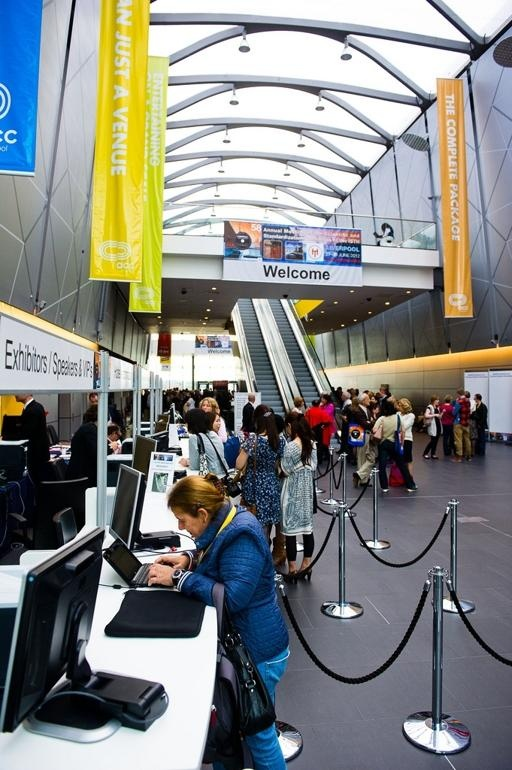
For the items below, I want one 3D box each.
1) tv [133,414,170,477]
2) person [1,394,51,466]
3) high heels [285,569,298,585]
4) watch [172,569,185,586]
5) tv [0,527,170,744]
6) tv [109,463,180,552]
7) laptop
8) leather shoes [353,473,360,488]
[{"bbox_3d":[-1.031,0.605,5.013,0.162,0.513,0.422,9,12,16],"label":"tv"},{"bbox_3d":[-2.758,0.560,5.984,0.265,0.365,0.824,-3,23,-18],"label":"person"},{"bbox_3d":[0.327,1.757,4.506,0.041,0.086,0.160,-1,-38,-3],"label":"high heels"},{"bbox_3d":[-0.297,0.745,1.912,0.032,0.056,0.056,7,37,26],"label":"watch"},{"bbox_3d":[-0.351,0.624,1.234,0.322,0.473,0.458,2,-2,0],"label":"tv"},{"bbox_3d":[-0.549,0.674,2.583,0.361,0.513,0.642,3,-3,-19],"label":"tv"},{"bbox_3d":[-0.555,0.792,2.182,0.149,0.117,0.179,8,26,-27],"label":"laptop"},{"bbox_3d":[1.794,1.747,9.005,0.091,0.372,0.143,0,2,7],"label":"leather shoes"}]
